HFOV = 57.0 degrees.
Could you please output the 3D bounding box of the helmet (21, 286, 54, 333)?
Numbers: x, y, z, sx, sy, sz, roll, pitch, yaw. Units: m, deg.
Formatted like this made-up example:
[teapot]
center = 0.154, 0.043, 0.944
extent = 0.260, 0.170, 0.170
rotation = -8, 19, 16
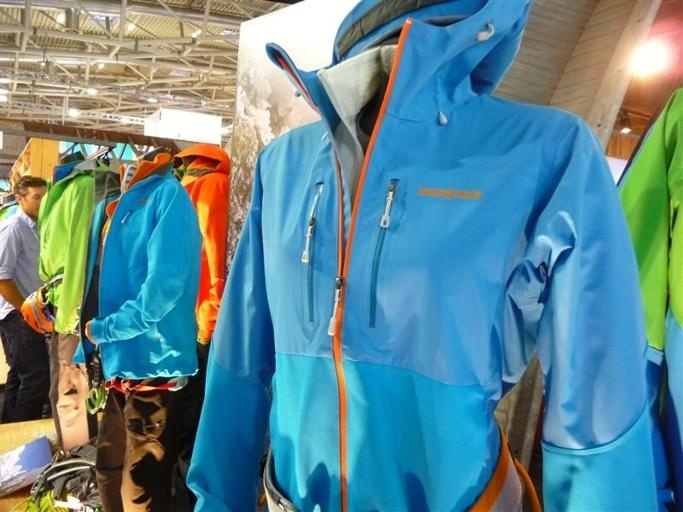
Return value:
[helmet]
center = -1.713, 0.315, 3.532
extent = 0.150, 0.239, 0.224
rotation = -6, -43, -12
